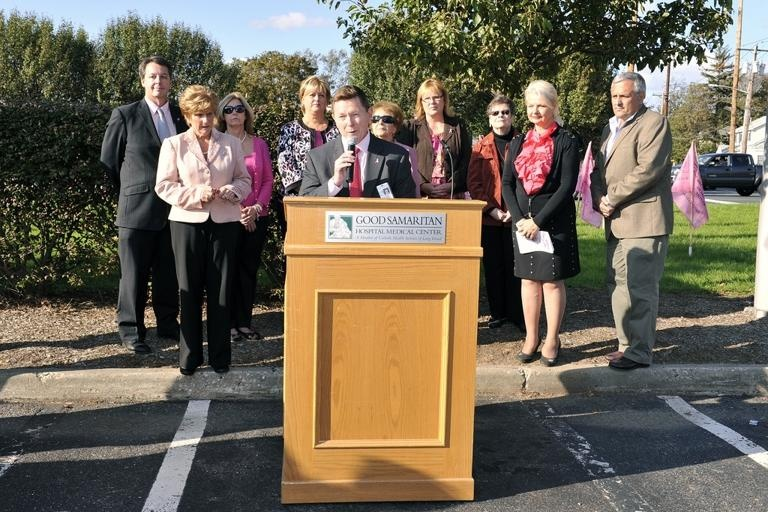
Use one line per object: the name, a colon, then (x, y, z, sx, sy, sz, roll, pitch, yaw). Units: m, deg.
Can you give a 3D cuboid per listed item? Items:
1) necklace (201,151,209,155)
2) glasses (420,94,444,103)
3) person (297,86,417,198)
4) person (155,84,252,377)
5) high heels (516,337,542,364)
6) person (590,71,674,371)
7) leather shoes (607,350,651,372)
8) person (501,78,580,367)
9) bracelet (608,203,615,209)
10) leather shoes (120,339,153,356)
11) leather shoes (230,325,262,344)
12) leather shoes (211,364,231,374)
necklace: (-1.737, -1.010, 6.441, 0.036, 0.039, 0.035, -2, 0, 9)
glasses: (0.571, -1.829, 7.697, 0.251, 0.103, 0.148, 0, 9, 9)
person: (-0.215, -0.938, 5.422, 0.965, 0.909, 0.565, -2, 8, -6)
person: (-1.718, -0.247, 6.382, 0.862, 2.775, 0.576, -4, 9, -20)
high heels: (1.561, 1.030, 7.052, 0.125, 0.155, 0.382, -2, -1, 33)
person: (2.532, -0.382, 6.788, 0.664, 2.969, 0.707, -3, 8, -15)
leather shoes: (2.514, 1.077, 6.767, 0.409, 0.182, 0.173, 7, 0, -5)
person: (1.638, -0.346, 6.865, 0.774, 2.888, 0.565, 0, 8, 10)
bracelet: (2.311, -0.517, 6.704, 0.062, 0.035, 0.033, -5, -14, -46)
leather shoes: (-2.656, 0.958, 7.084, 0.375, 0.146, 0.155, 4, 10, 32)
leather shoes: (-1.562, 0.892, 7.424, 0.405, 0.164, 0.141, -2, -4, 1)
leather shoes: (-1.578, 1.097, 6.431, 0.136, 0.097, 0.074, 4, -3, -11)
